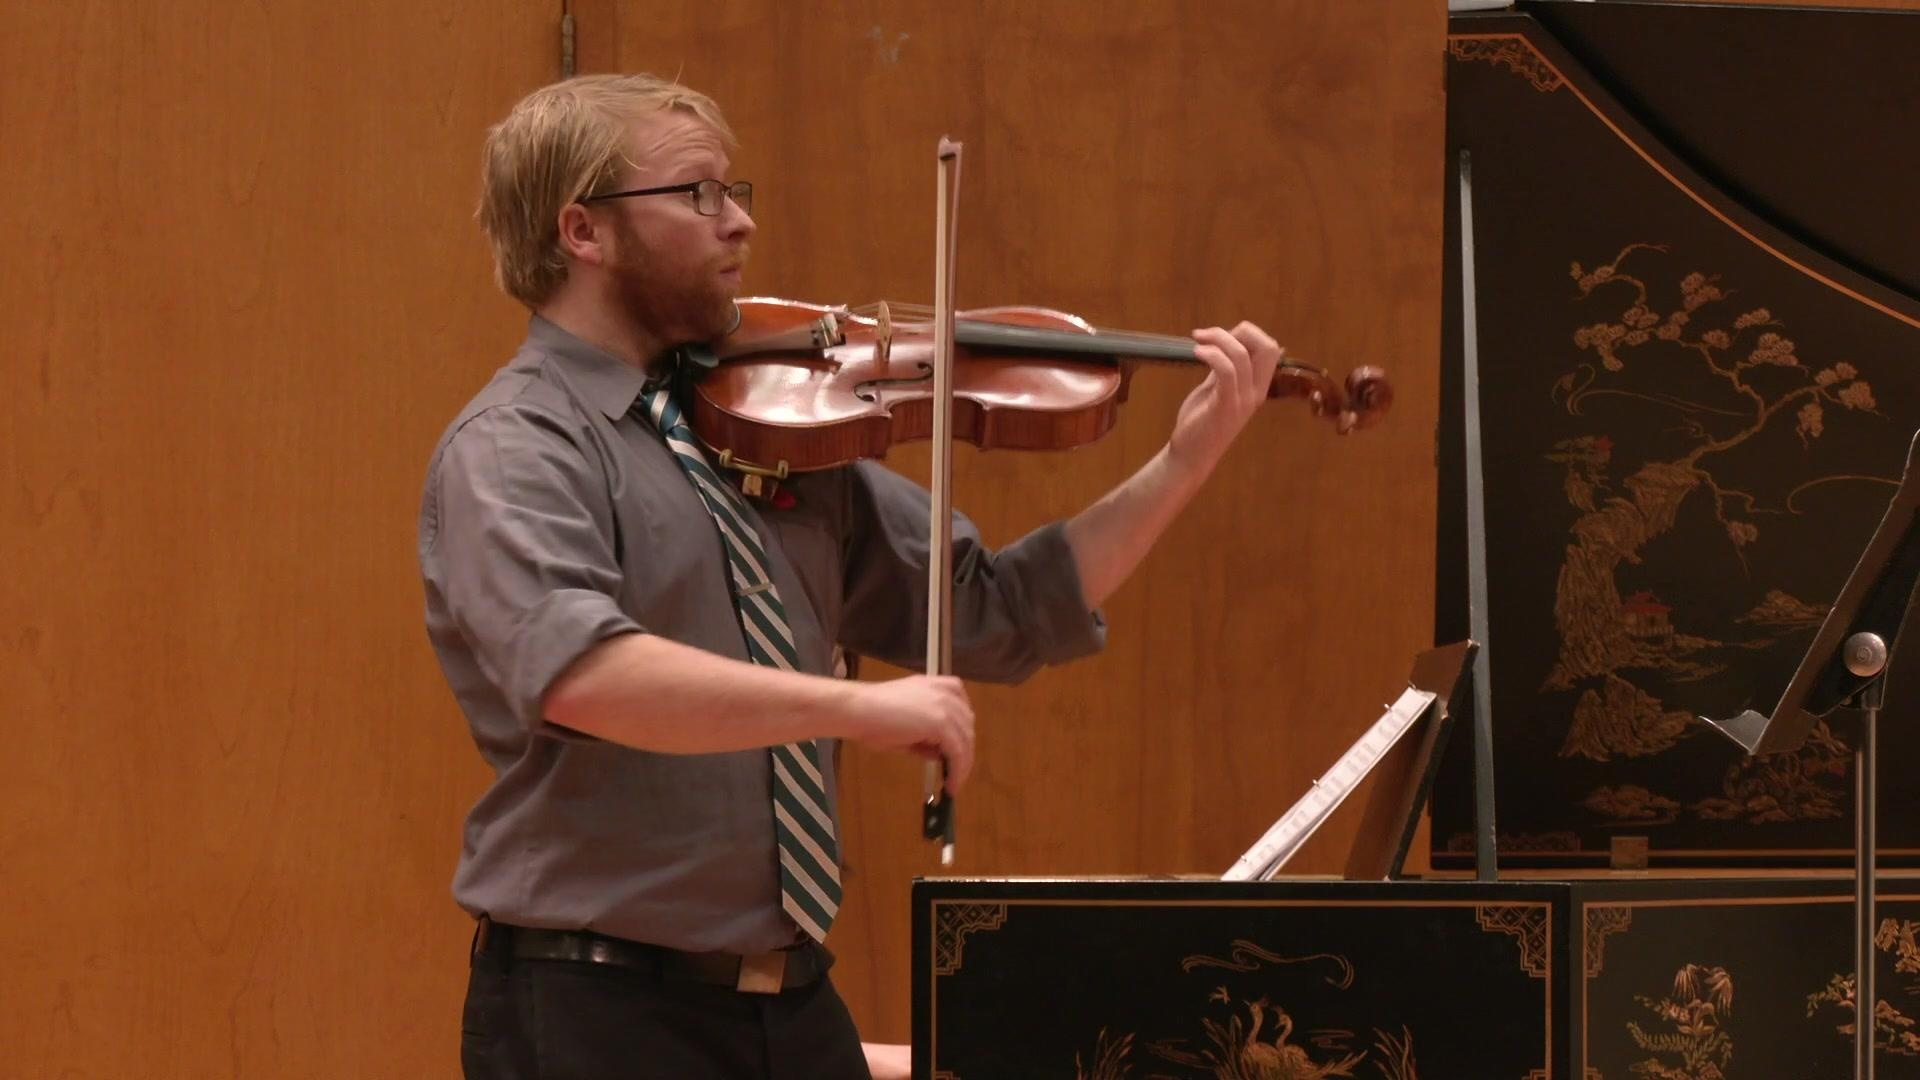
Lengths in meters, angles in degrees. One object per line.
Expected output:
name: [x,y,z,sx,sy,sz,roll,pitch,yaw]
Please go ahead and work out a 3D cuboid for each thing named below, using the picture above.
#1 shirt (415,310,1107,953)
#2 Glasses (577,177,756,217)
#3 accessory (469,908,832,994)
shirt: [-0.607,0.228,8.041,1.458,1.577,0.478,-6,9,-10]
Glasses: [-0.725,-0.868,8.123,0.226,0.066,0.219,-6,-5,4]
accessory: [-0.768,1.043,7.966,0.881,0.245,0.126,-5,9,-5]
